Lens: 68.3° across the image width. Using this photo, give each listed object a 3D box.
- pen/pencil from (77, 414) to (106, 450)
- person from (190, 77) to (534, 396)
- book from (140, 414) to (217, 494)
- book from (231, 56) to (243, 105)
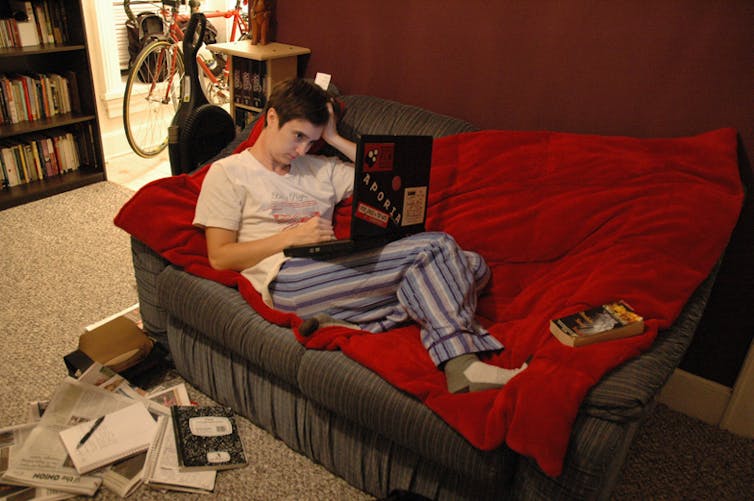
[{"bbox_3d":[-1.123,0.715,2.188,0.025,0.006,0.151,9,39,27],"label":"pen/pencil"},{"bbox_3d":[-0.089,-0.258,2.635,1.640,1.123,0.913,14,24,27],"label":"person"},{"bbox_3d":[-0.770,0.810,2.221,0.259,0.181,0.239,0,27,-3],"label":"book"},{"bbox_3d":[-0.863,-1.052,3.420,0.046,0.188,0.184,-6,11,-25],"label":"book"}]
